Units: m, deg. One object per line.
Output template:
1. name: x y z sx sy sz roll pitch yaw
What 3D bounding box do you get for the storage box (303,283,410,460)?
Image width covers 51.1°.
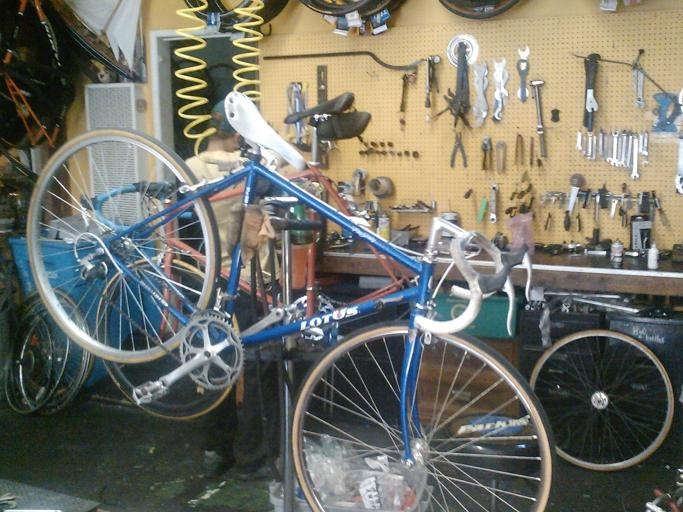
1. storage box: 0.101 0.688 4.118 0.923 0.965 0.524 0 7 -13

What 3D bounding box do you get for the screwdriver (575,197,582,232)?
1. screwdriver: 1.580 -0.267 4.721 0.061 0.217 0.029 4 13 17

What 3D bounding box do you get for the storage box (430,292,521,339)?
1. storage box: 0.869 0.383 4.490 0.470 0.255 0.335 1 2 8

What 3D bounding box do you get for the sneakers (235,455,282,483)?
1. sneakers: -0.462 1.270 4.249 0.313 0.107 0.245 0 -3 7
